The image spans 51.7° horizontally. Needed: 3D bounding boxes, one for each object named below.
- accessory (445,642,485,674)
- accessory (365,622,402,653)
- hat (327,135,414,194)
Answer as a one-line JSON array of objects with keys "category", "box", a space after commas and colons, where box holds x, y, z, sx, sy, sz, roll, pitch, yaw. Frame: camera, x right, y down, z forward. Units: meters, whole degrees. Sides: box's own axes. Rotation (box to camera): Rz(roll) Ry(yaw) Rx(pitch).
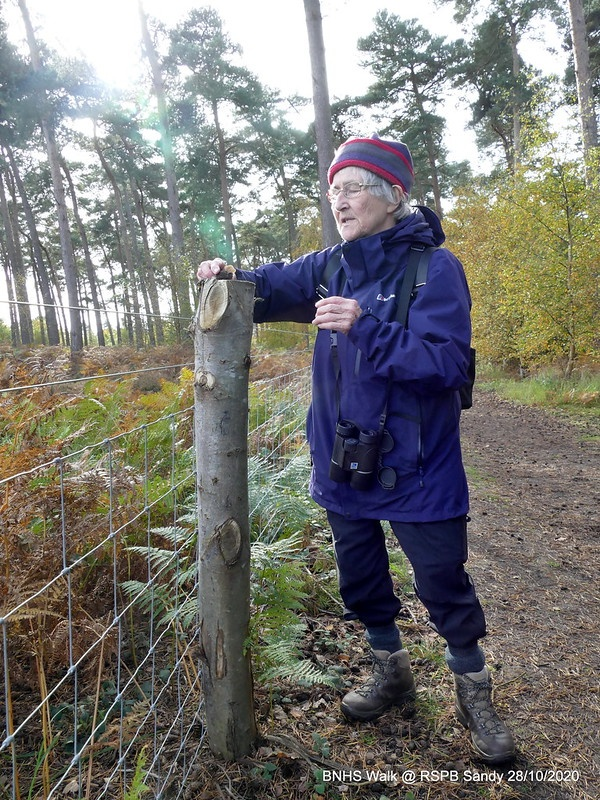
[{"category": "accessory", "box": [0.630, 0.980, 2.405, 0.110, 0.129, 0.147, -4, -8, -20]}, {"category": "accessory", "box": [0.351, 0.971, 2.568, 0.102, 0.139, 0.137, 1, -11, -42]}, {"category": "hat", "box": [0.281, -0.854, 2.430, 0.295, 0.250, 0.226, 11, 7, -6]}]
